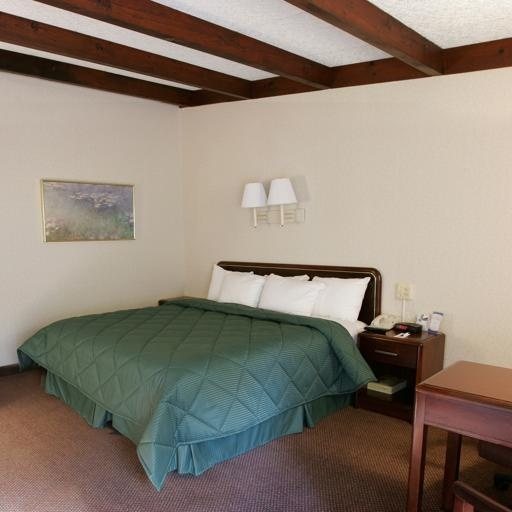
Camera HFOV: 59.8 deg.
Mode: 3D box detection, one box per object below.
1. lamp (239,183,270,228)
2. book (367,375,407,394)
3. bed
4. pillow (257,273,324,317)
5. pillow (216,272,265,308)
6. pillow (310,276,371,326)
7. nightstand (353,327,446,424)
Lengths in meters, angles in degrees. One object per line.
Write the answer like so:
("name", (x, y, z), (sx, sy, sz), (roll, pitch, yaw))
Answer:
("lamp", (-0.014, -0.614, 5.231), (0.285, 0.533, 0.383), (0, 5, 1))
("book", (1.119, 1.135, 3.897), (0.204, 0.050, 0.294), (-2, -2, 44))
("bed", (-0.581, 0.723, 4.191), (3.058, 1.170, 2.657), (4, 6, 44))
("pillow", (0.375, 0.399, 4.490), (0.637, 0.354, 0.169), (4, -29, 46))
("pillow", (-0.155, 0.371, 4.963), (0.494, 0.345, 0.139), (13, -10, 38))
("pillow", (0.822, 0.407, 4.288), (0.527, 0.426, 0.137), (2, -32, 42))
("nightstand", (1.142, 0.971, 4.096), (0.788, 0.916, 0.745), (-2, 4, -44))
